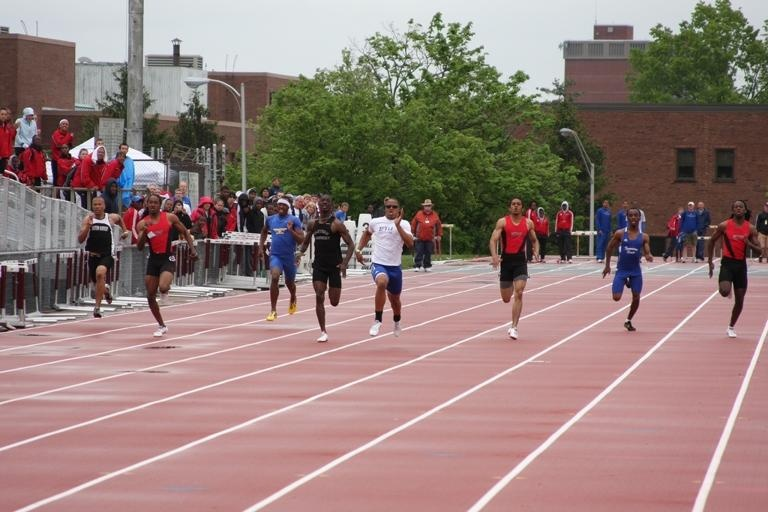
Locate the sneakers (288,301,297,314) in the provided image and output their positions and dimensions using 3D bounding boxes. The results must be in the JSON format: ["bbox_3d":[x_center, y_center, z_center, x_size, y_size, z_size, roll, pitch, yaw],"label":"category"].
[{"bbox_3d":[-1.839,1.015,20.030,0.164,0.160,0.415,4,33,1],"label":"sneakers"}]

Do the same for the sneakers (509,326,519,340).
[{"bbox_3d":[2.398,1.397,17.879,0.122,0.129,0.313,8,-10,14],"label":"sneakers"}]

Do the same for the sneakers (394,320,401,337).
[{"bbox_3d":[0.267,1.320,18.113,0.102,0.261,0.110,-1,8,9],"label":"sneakers"}]

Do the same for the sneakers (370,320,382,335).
[{"bbox_3d":[-0.132,1.345,18.114,0.131,0.132,0.357,5,10,11],"label":"sneakers"}]

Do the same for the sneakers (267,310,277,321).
[{"bbox_3d":[-2.280,1.215,20.065,0.143,0.145,0.365,0,-4,4],"label":"sneakers"}]

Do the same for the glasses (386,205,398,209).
[{"bbox_3d":[0.171,-0.907,17.534,0.244,0.080,0.125,-2,4,-29],"label":"glasses"}]
